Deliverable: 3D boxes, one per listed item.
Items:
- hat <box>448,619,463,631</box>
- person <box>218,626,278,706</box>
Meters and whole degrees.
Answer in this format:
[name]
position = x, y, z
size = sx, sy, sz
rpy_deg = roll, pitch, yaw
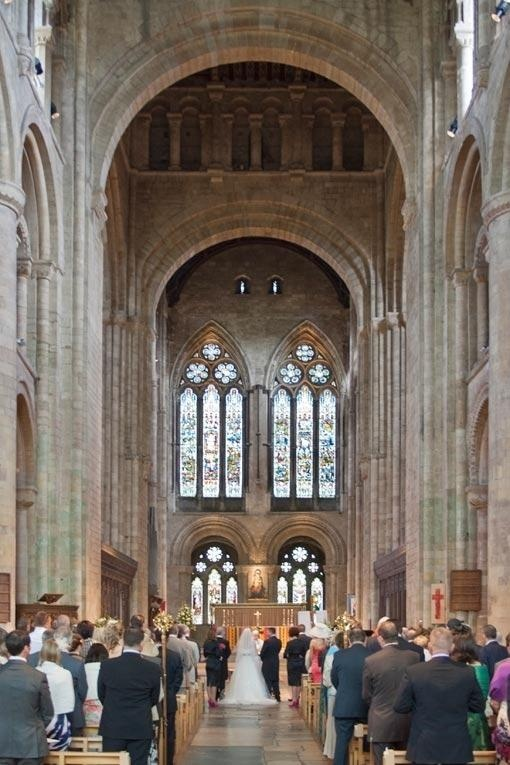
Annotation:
[hat]
position = 2.342, 2.830, 20.556
size = 0.173, 0.106, 0.294
rpy_deg = 1, -10, -6
[person]
position = -0.076, 4.775, 29.768
size = 0.869, 1.380, 1.048
rpy_deg = 1, -4, -14
